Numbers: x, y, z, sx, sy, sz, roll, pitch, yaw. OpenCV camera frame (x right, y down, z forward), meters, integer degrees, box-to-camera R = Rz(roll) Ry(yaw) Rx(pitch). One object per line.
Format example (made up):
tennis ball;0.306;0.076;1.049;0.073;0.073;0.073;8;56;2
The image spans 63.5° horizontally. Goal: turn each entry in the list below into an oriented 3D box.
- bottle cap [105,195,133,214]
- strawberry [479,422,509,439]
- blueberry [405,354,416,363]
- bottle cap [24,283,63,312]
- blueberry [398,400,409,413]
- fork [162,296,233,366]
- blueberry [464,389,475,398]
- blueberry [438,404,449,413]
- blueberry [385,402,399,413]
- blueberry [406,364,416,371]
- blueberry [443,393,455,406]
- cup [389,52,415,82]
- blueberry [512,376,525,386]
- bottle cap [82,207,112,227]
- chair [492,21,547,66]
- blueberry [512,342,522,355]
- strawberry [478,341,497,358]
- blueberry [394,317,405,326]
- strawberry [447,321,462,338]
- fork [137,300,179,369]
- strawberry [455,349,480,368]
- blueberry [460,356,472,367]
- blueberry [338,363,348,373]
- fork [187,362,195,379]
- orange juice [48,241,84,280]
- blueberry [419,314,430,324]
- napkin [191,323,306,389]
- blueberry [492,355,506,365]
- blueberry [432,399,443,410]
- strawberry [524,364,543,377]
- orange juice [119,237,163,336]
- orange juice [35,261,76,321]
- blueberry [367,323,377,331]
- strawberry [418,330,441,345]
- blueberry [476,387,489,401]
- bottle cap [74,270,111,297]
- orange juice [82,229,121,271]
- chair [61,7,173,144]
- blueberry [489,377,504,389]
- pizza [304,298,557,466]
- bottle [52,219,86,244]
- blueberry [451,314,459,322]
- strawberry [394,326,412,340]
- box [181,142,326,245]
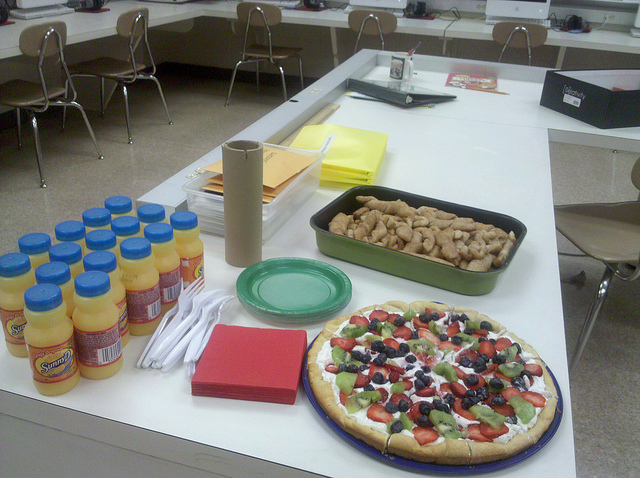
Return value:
bottle cap;-0.413;-0.081;1.051;0.041;0.019;0.042;4;33;-6
strawberry;0.275;0.309;0.826;0.027;0.011;0.029;7;26;22
blueberry;0.162;0.216;0.930;0.020;0.010;0.012;-9;33;-18
bottle cap;-0.442;0.093;0.822;0.052;0.025;0.047;23;37;30
blueberry;0.136;0.275;0.854;0.016;0.016;0.016;3;8;32
fork;-0.235;0.142;1.002;0.036;0.025;0.220;-33;24;38
blueberry;0.251;0.261;0.873;0.016;0.012;0.013;3;31;1
blueberry;0.201;0.280;0.853;0.012;0.005;0.017;1;7;4
blueberry;0.116;0.278;0.850;0.016;0.006;0.016;0;35;11
blueberry;0.159;0.226;0.915;0.016;0.007;0.012;3;32;1
blueberry;0.216;0.268;0.863;0.014;0.006;0.018;-22;54;-10
cup;0.387;-0.799;2.407;0.086;0.120;0.134;-19;37;-38
blueberry;0.346;0.250;0.905;0.024;0.013;0.011;-2;31;-7
bottle cap;-0.436;-0.052;1.000;0.042;0.018;0.043;3;32;-5
chair;1.466;-1.515;3.839;0.340;0.357;0.316;9;26;13
blueberry;0.366;0.205;0.965;0.012;0.007;0.017;16;42;-17
strawberry;0.309;0.203;0.954;0.033;0.012;0.030;15;34;20
blueberry;0.152;0.160;1.003;0.014;0.005;0.016;-5;39;1
strawberry;0.260;0.175;1.008;0.023;0.011;0.023;-37;34;-8
fork;-0.307;0.183;0.968;0.016;0.017;0.150;37;53;-18
strawberry;0.272;0.218;0.946;0.029;0.009;0.032;2;26;34
blueberry;0.261;0.221;0.929;0.021;0.011;0.016;14;33;18
blueberry;0.039;0.228;0.909;0.012;0.016;0.005;0;-7;13
fork;-0.233;0.237;0.935;0.023;0.007;0.023;-13;35;-22
orange juice;-0.444;0.029;0.909;0.066;0.066;0.067;1;30;-9
blueberry;0.204;0.156;1.017;0.014;0.007;0.015;-5;33;7
napkin;-0.123;0.195;0.969;0.185;0.078;0.234;-7;21;-22
blueberry;0.319;0.216;0.933;0.016;0.007;0.016;-26;27;-26
blueberry;0.191;0.275;0.854;0.011;0.015;0.005;0;-15;14
strawberry;0.382;0.234;0.926;0.021;0.011;0.023;4;20;14
orange juice;-0.339;0.093;0.976;0.072;0.179;0.073;-4;18;-17
orange juice;-0.431;0.076;0.875;0.066;0.108;0.060;-3;26;-12
blueberry;0.100;0.168;0.992;0.017;0.009;0.012;7;32;7
strawberry;0.206;0.185;0.982;0.019;0.009;0.037;-23;36;-37
blueberry;0.272;0.262;0.875;0.027;0.014;0.020;-19;37;-30
bottle cap;-0.375;0.073;0.851;0.049;0.027;0.047;21;36;27
orange juice;-0.385;0.020;0.951;0.064;0.074;0.065;-1;30;-9
chair;-1.550;-1.219;3.877;0.569;1.169;0.576;10;32;15
blueberry;0.298;0.244;0.877;0.024;0.014;0.012;13;33;17
pizza;0.207;0.234;0.881;0.280;0.059;0.285;1;34;2
bottle;-0.479;-0.011;1.000;0.058;0.025;0.060;5;33;-3
blueberry;0.266;0.156;1.024;0.012;0.009;0.012;-4;-11;11
strawberry;0.158;0.179;0.988;0.033;0.009;0.026;14;33;17
box;-0.136;-0.091;1.436;0.352;0.259;0.379;8;33;15
